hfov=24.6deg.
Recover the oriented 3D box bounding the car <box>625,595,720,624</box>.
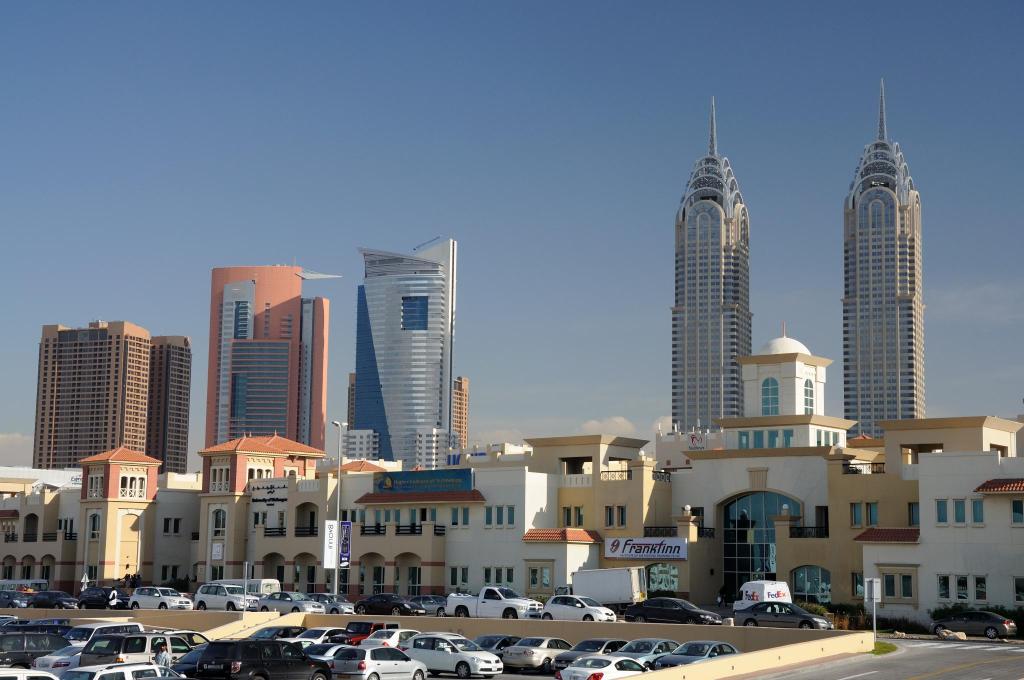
[{"bbox_3d":[14.195,24.482,211.713,6.754,1.951,2.930,-3,-4,17],"label":"car"}]
